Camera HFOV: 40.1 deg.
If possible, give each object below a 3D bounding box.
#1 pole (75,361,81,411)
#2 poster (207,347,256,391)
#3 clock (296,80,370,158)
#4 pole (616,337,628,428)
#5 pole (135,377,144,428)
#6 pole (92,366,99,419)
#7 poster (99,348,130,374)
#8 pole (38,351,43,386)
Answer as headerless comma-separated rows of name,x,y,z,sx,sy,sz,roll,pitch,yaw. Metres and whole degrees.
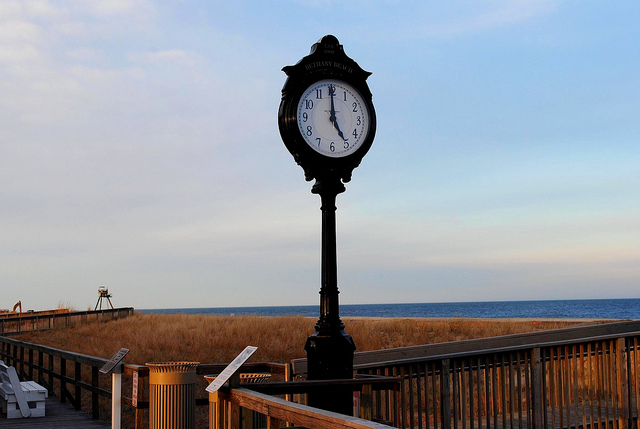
pole,-4.856,3.485,17.478,0.109,0.955,0.708,0,-9,-16
poster,-1.235,2.140,12.009,0.658,0.573,0.297,-2,-8,-7
clock,0.181,-1.648,14.911,1.336,1.370,0.117,1,-6,-14
pole,5.487,3.090,15.964,0.212,1.644,0.200,-5,-8,18
pole,-2.829,2.970,13.660,0.097,0.813,0.670,0,-9,-15
pole,-4.314,3.443,16.701,0.101,0.994,0.725,0,-9,-16
poster,-3.327,2.374,14.070,0.410,0.368,0.966,0,-9,-18
pole,-6.160,3.415,19.236,0.068,0.729,0.966,0,-9,-19
